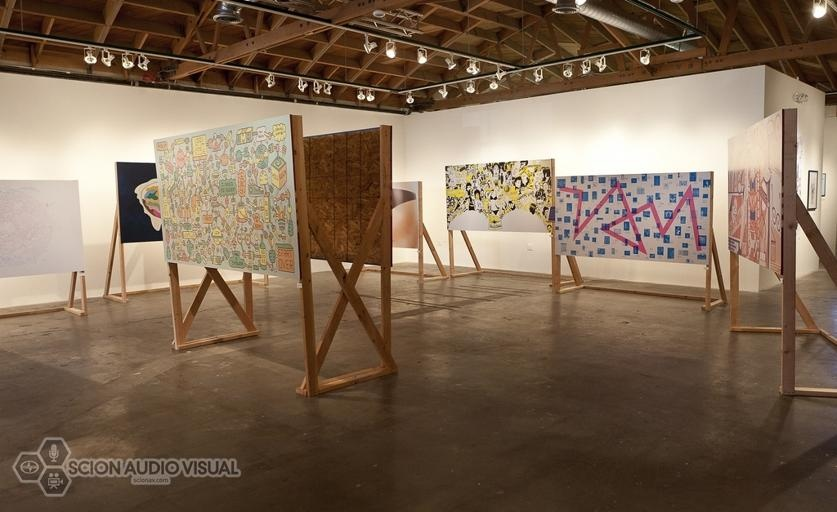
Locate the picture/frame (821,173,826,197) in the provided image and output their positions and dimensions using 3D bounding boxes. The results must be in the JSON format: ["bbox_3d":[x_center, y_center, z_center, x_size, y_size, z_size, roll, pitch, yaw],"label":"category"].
[{"bbox_3d":[10.127,-1.781,13.382,0.027,0.713,0.597,5,8,41],"label":"picture/frame"}]

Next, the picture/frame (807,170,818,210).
[{"bbox_3d":[9.007,-1.495,12.232,0.737,0.862,0.035,-4,5,-34],"label":"picture/frame"}]
